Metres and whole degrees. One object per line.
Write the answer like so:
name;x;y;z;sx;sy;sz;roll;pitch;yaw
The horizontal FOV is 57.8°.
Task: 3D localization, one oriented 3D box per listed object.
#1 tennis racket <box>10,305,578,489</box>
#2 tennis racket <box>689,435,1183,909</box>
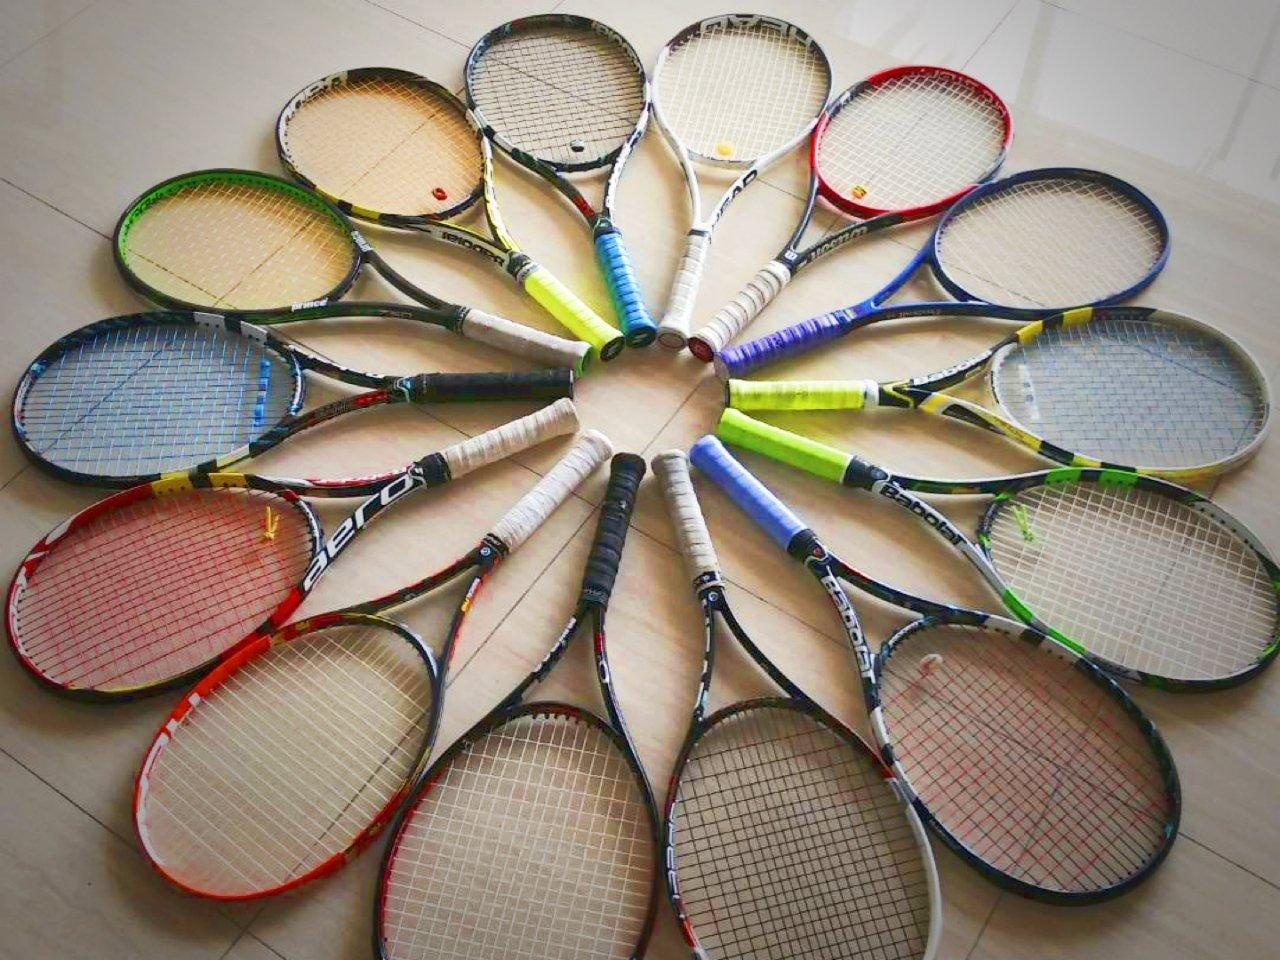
tennis racket;-1.026;-0.214;3.711;1.794;0.722;0.151;3;-30;-3
tennis racket;0.748;0.443;3.501;0.734;0.137;1.896;-32;51;-21
